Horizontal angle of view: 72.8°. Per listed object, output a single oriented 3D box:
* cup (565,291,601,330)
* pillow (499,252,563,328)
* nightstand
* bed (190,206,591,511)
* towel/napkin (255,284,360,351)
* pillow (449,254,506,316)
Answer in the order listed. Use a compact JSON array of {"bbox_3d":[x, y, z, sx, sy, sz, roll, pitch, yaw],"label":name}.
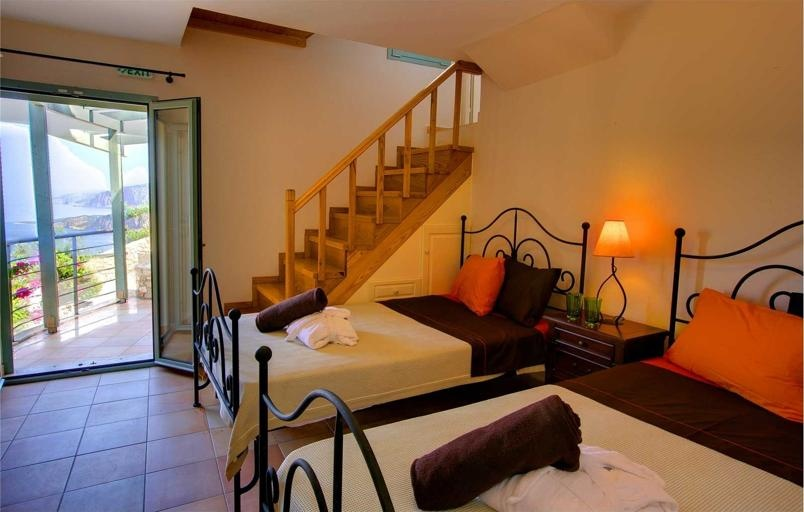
[{"bbox_3d":[1.484,0.437,4.502,0.327,0.295,0.212,2,6,43],"label":"cup"},{"bbox_3d":[1.078,0.246,4.973,0.601,0.647,0.185,14,22,-31],"label":"pillow"},{"bbox_3d":[1.653,0.901,4.529,0.566,0.696,0.786,-5,11,-27],"label":"nightstand"},{"bbox_3d":[-0.132,0.723,4.597,2.788,1.698,2.093,-10,16,-28],"label":"bed"},{"bbox_3d":[-0.751,0.519,4.406,0.587,0.195,0.585,4,5,39],"label":"towel/napkin"},{"bbox_3d":[0.736,0.238,5.356,0.313,0.487,0.737,1,9,-19],"label":"pillow"}]
